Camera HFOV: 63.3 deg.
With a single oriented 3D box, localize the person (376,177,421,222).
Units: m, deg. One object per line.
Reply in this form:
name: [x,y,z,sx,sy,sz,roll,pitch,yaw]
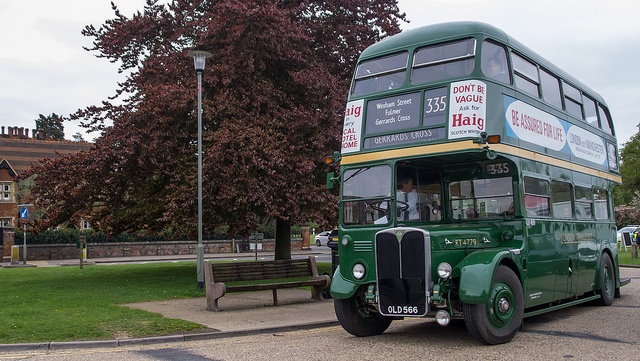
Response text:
person: [2.461,0.861,15.768,1.140,1.302,1.357,5,-33,-1]
